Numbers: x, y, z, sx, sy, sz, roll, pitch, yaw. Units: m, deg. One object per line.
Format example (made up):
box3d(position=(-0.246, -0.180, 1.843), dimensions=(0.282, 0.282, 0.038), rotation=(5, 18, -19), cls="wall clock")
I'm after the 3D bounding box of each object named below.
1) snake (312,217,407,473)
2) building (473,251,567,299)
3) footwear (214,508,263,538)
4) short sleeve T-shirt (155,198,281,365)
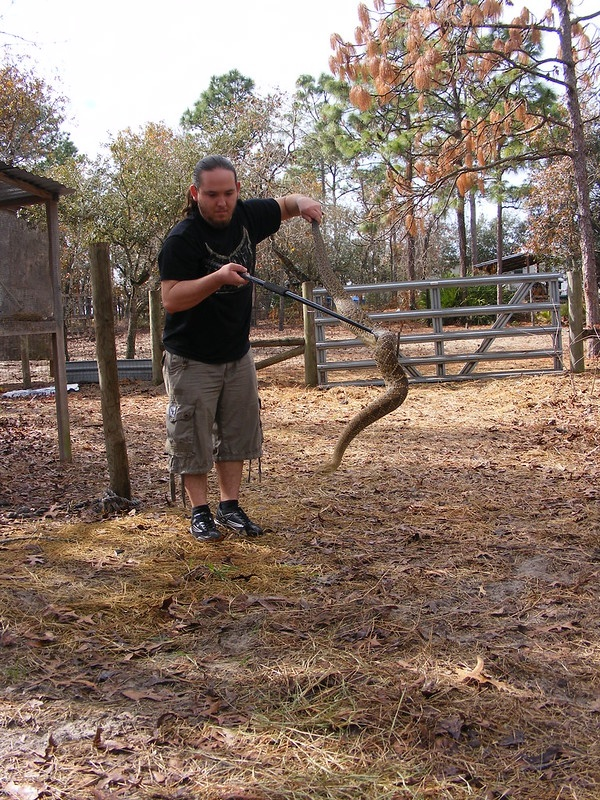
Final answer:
box3d(position=(0.273, -0.356, 3.912), dimensions=(0.135, 1.492, 0.473), rotation=(-35, -38, 29), cls="snake")
box3d(position=(11.004, -6.131, 36.491), dimensions=(3.814, 2.712, 9.670), rotation=(-2, 2, 15), cls="building")
box3d(position=(-0.351, 0.689, 4.174), dimensions=(0.307, 0.109, 0.119), rotation=(12, 16, 32), cls="footwear")
box3d(position=(-0.392, -0.656, 3.804), dimensions=(0.747, 0.932, 0.445), rotation=(-4, 2, -25), cls="short sleeve T-shirt")
